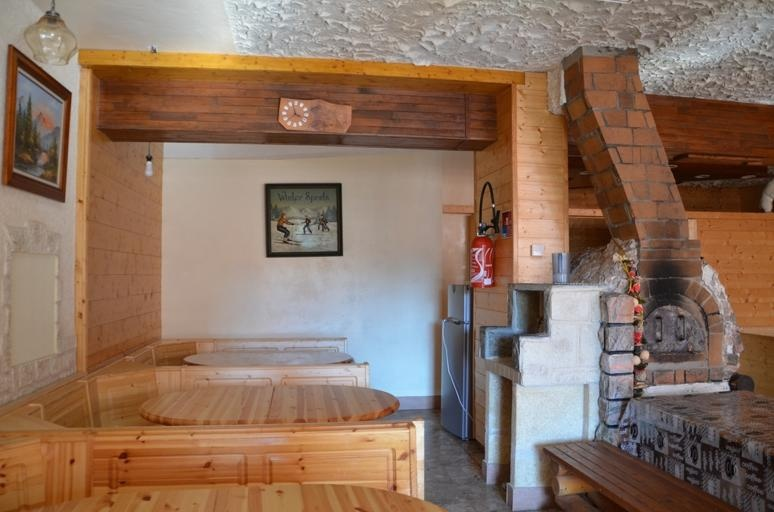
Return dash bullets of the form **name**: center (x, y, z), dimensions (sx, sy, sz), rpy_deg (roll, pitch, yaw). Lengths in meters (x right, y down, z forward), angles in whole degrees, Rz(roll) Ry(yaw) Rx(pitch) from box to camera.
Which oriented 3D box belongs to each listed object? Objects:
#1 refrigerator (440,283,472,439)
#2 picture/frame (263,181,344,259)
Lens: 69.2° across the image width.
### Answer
- **refrigerator**: center (0.765, 1.133, 6.149), dimensions (0.202, 1.624, 0.563), rpy_deg (2, -3, -15)
- **picture/frame**: center (-1.060, -0.414, 6.803), dimensions (1.241, 0.905, 0.090), rpy_deg (-1, 1, -1)
